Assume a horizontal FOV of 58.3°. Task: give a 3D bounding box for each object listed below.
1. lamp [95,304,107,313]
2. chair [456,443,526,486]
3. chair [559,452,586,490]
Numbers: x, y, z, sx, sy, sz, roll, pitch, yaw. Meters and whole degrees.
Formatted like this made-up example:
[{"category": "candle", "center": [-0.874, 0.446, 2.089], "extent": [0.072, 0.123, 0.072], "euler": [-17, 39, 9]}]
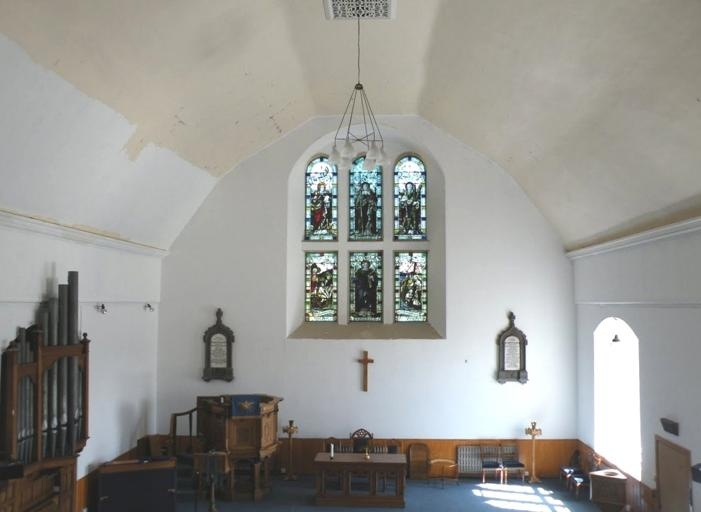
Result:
[{"category": "lamp", "center": [-5.148, 1.074, 12.879], "extent": [0.163, 0.276, 0.569], "euler": [2, -1, -21]}, {"category": "chair", "center": [3.221, 4.769, 14.519], "extent": [1.584, 0.858, 0.564], "euler": [-2, -13, 10]}, {"category": "chair", "center": [5.009, 4.830, 14.113], "extent": [0.534, 0.941, 0.483], "euler": [-3, -6, 35]}]
